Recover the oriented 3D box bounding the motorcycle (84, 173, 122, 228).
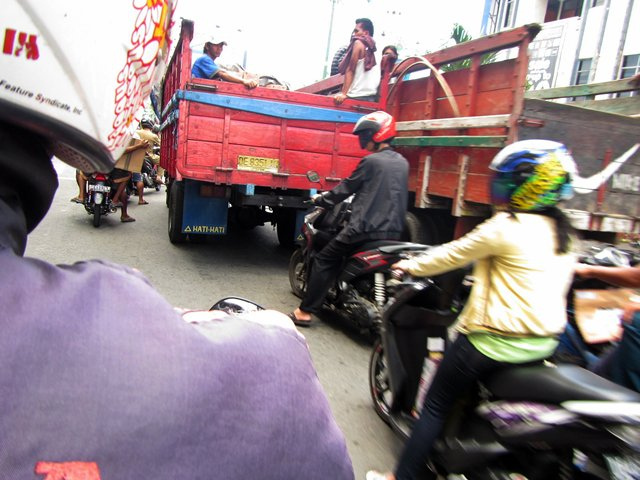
[{"bbox_3d":[-4.213,-0.768,7.891,0.615,0.955,0.845,3,13,-17],"label":"motorcycle"}]

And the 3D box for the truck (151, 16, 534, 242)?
[{"bbox_3d":[0.195,-1.581,5.867,3.424,2.212,4.608,3,12,-22],"label":"truck"}]

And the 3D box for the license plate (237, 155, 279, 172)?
[{"bbox_3d":[-0.827,-1.003,5.454,0.534,0.194,0.083,4,14,-12],"label":"license plate"}]

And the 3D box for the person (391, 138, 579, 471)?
[{"bbox_3d":[0.813,0.372,2.000,0.646,1.684,0.364,11,14,17],"label":"person"}]

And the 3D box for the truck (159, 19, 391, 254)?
[{"bbox_3d":[-0.695,-1.109,5.923,2.686,3.100,2.578,0,15,-28],"label":"truck"}]

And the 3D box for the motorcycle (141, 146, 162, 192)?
[{"bbox_3d":[-5.354,-2.044,13.024,0.426,1.147,2.144,2,13,-20],"label":"motorcycle"}]

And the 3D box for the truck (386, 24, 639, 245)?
[{"bbox_3d":[2.231,-1.386,6.033,2.693,2.065,3.923,-2,6,-21],"label":"truck"}]
